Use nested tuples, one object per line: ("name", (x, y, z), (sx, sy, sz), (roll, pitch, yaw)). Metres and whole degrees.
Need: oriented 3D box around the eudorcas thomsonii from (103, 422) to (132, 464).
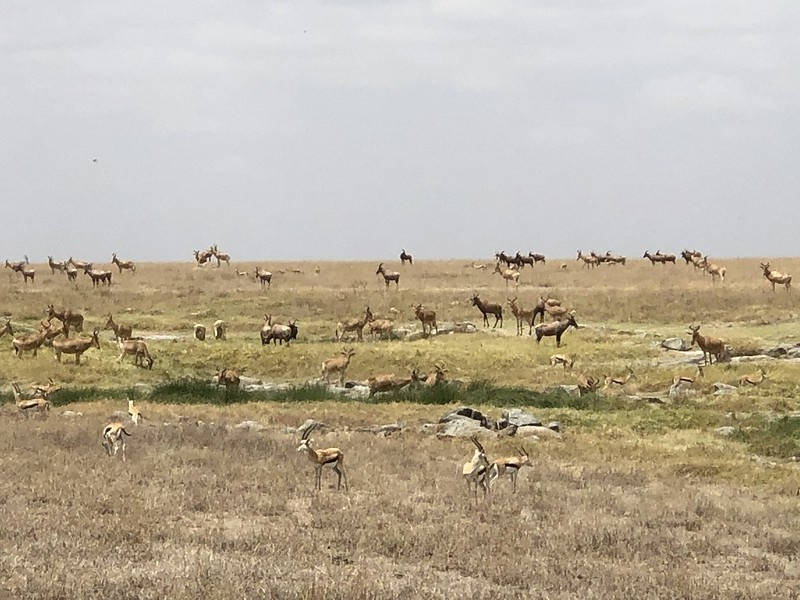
("eudorcas thomsonii", (-9.057, 4.378, 52.377), (0.321, 1.295, 1.230), (-15, -12, 25))
